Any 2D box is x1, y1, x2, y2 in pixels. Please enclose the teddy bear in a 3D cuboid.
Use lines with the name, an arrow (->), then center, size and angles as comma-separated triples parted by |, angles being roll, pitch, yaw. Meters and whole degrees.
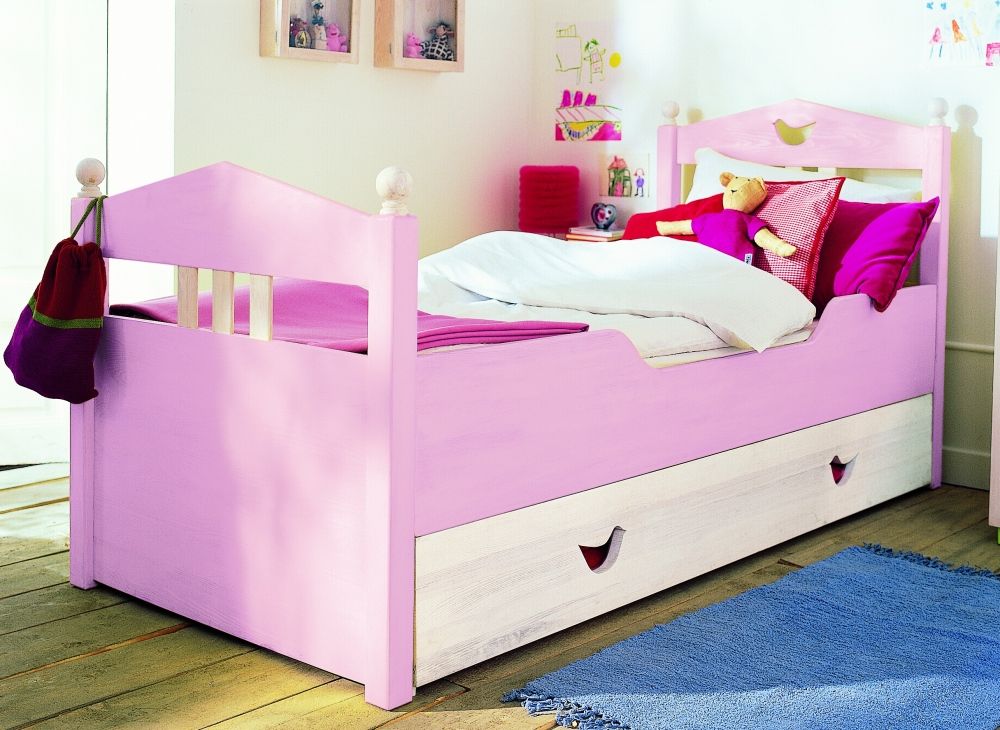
teddy bear -> 0.808, -0.522, 2.962 | 0.479, 0.308, 0.222 | 13, 14, 39

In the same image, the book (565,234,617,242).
book -> 0.402, -0.582, 3.803 | 0.149, 0.033, 0.164 | 3, 4, 42

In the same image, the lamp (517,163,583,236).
lamp -> 0.220, -0.763, 3.888 | 0.316, 0.542, 0.312 | 0, 8, 1
